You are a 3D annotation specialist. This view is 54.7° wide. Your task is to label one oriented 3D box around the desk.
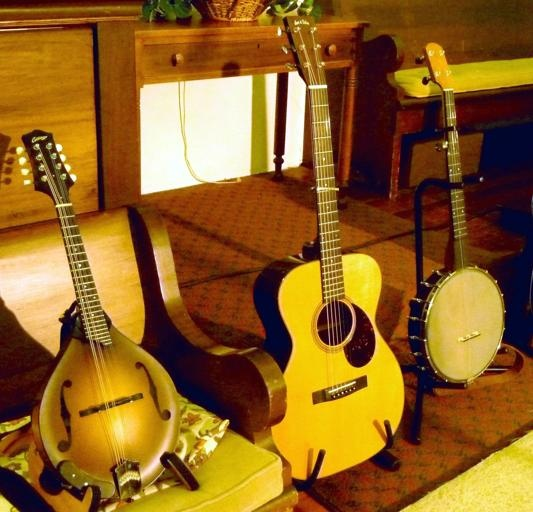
[{"bbox_3d":[-0.190,-0.722,2.951,0.605,1.103,1.559,27,39,37],"label":"desk"}]
